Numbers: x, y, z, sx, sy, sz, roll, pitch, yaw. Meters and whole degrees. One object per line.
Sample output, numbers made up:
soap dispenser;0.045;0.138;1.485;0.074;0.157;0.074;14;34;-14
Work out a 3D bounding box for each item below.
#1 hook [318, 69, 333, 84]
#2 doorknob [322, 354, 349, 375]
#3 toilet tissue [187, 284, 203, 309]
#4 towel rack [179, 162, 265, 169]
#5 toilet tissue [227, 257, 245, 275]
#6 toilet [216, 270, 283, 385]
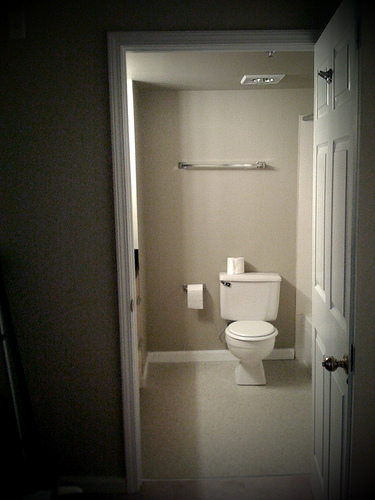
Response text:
hook;0.483;-0.601;1.426;0.041;0.044;0.063;0;7;14
doorknob;0.471;0.354;1.284;0.051;0.064;0.056;-1;-6;-2
toilet tissue;0.059;0.361;3.200;0.101;0.188;0.041;0;2;3
towel rack;0.260;-0.646;3.099;0.651;0.067;0.043;-2;6;2
toilet tissue;0.371;0.126;3.131;0.111;0.146;0.096;-1;4;-6
toilet;0.464;0.585;3.028;0.370;0.783;0.639;0;5;4
